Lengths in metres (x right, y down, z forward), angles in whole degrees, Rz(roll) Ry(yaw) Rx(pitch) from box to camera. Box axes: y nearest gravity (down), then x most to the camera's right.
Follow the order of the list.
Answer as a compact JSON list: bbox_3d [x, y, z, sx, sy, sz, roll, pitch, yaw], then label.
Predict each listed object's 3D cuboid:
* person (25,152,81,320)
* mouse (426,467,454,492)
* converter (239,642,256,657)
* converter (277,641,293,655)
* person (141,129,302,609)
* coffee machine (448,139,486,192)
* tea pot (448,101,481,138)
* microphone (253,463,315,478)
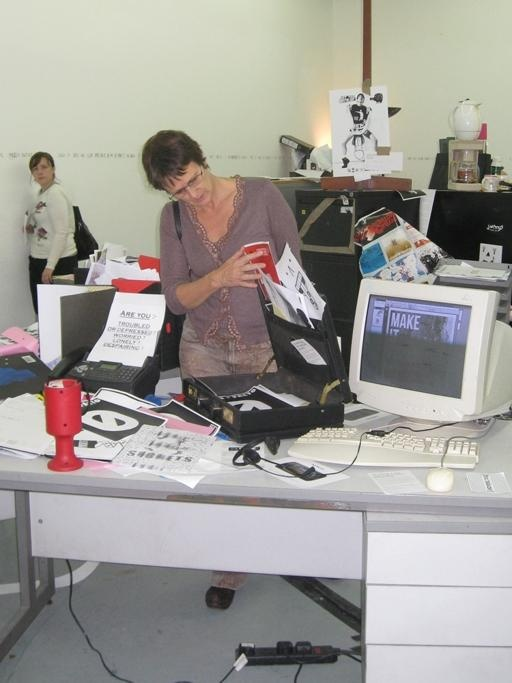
[{"bbox_3d":[-1.386,-0.730,4.069,0.333,1.049,0.295,-5,10,-19],"label":"person"},{"bbox_3d":[0.337,0.251,1.095,0.044,0.034,0.042,0,0,5],"label":"mouse"},{"bbox_3d":[-0.027,0.855,1.667,0.028,0.018,0.027,1,-2,17],"label":"converter"},{"bbox_3d":[0.078,0.846,1.658,0.029,0.018,0.028,1,11,0],"label":"converter"},{"bbox_3d":[-0.084,0.064,1.816,0.508,1.346,0.499,-3,3,-28],"label":"person"},{"bbox_3d":[1.076,-0.918,3.117,0.163,0.251,0.150,-6,20,-11],"label":"coffee machine"},{"bbox_3d":[1.042,-1.086,2.959,0.156,0.188,0.190,-8,16,-20],"label":"tea pot"},{"bbox_3d":[0.055,0.260,1.204,0.071,0.007,0.054,10,8,30],"label":"microphone"}]
